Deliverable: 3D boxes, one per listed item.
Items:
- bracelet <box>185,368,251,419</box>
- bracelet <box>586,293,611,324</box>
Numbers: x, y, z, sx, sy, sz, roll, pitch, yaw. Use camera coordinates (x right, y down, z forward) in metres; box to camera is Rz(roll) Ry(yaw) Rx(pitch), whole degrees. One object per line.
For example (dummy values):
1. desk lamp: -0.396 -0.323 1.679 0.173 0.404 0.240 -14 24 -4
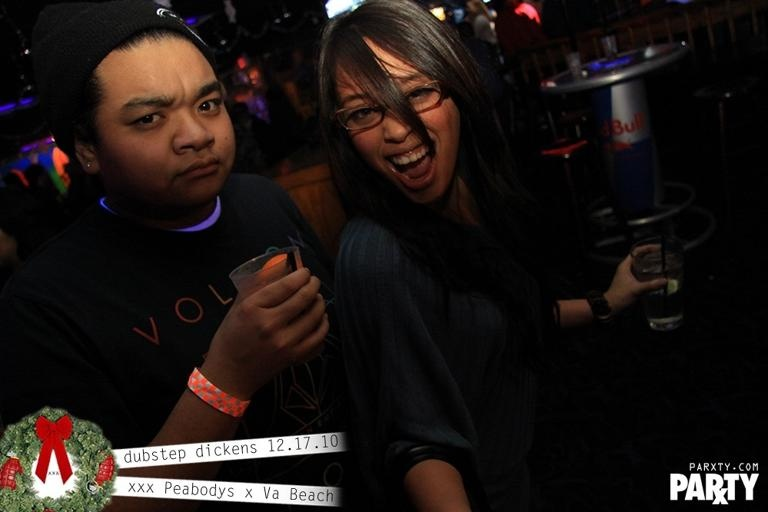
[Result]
1. bracelet: -0.629 0.522 2.239 0.051 0.197 0.182 -59 -8 -15
2. bracelet: 1.059 0.251 2.928 0.092 0.134 0.149 -15 36 7
